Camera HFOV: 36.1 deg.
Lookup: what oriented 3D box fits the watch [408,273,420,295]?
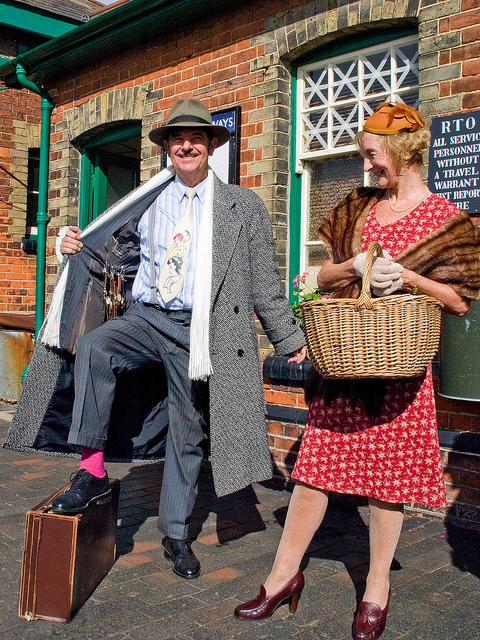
[{"bbox_3d":[0.639,-0.124,2.704,0.026,0.064,0.060,7,19,15],"label":"watch"}]

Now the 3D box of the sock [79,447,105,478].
[{"bbox_3d":[-0.629,0.611,3.194,0.085,0.130,0.159,2,2,22],"label":"sock"}]

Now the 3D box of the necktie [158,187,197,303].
[{"bbox_3d":[-0.291,-0.360,3.503,0.146,0.470,0.056,6,-20,17],"label":"necktie"}]

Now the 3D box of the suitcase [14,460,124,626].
[{"bbox_3d":[-0.733,0.974,3.153,0.236,0.465,0.587,-1,-12,12],"label":"suitcase"}]
